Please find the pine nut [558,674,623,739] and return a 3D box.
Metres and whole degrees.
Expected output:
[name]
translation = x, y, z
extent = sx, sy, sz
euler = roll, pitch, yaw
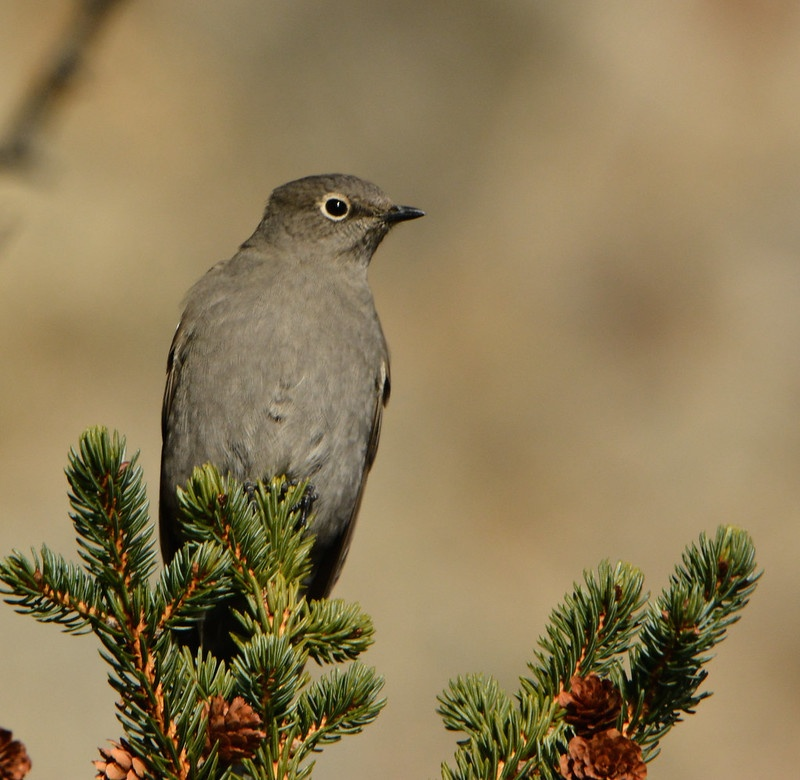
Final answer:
[pine nut]
translation = 0.642, 1.055, 4.565
extent = 0.183, 0.214, 0.144
euler = -10, -69, 5
